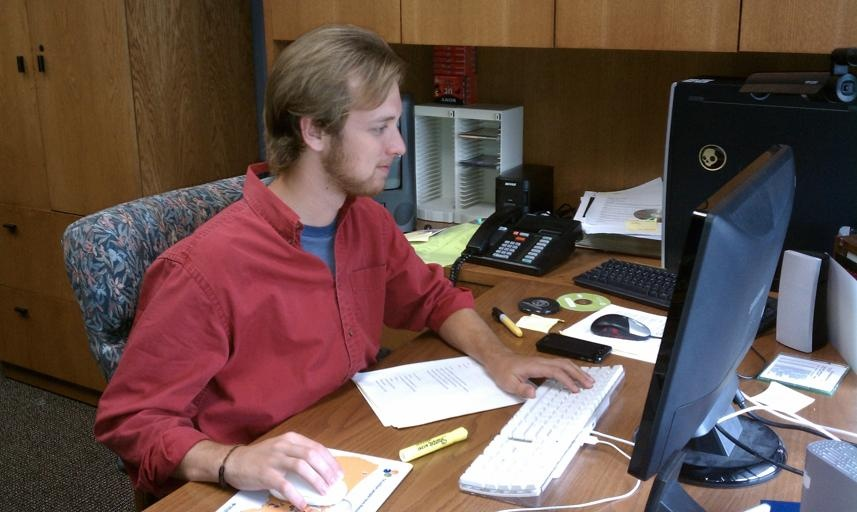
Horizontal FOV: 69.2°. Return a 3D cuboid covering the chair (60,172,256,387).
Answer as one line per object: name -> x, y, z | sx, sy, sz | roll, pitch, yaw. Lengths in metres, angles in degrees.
chair -> -0.780, 0.006, 1.870 | 0.531, 0.435, 0.559 | 10, 17, 42

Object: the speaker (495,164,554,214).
speaker -> 0.383, -0.270, 2.717 | 0.159, 0.198, 0.292 | 6, 22, 15

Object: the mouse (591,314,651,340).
mouse -> 0.583, 0.200, 1.860 | 0.136, 0.041, 0.078 | 5, 22, 17

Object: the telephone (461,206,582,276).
telephone -> 0.360, -0.068, 2.347 | 0.299, 0.106, 0.288 | 12, 36, 37

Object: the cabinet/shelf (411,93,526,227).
cabinet/shelf -> 0.186, -0.434, 2.782 | 0.540, 0.593, 0.331 | 8, 19, 24

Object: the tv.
tv -> 0.694, 0.157, 1.483 | 0.257, 0.671, 0.711 | 20, 30, 32

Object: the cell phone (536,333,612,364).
cell phone -> 0.418, 0.263, 1.815 | 0.162, 0.024, 0.086 | 12, 24, 28

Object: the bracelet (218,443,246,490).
bracelet -> -0.454, 0.499, 1.453 | 0.021, 0.074, 0.058 | 12, -8, -8
